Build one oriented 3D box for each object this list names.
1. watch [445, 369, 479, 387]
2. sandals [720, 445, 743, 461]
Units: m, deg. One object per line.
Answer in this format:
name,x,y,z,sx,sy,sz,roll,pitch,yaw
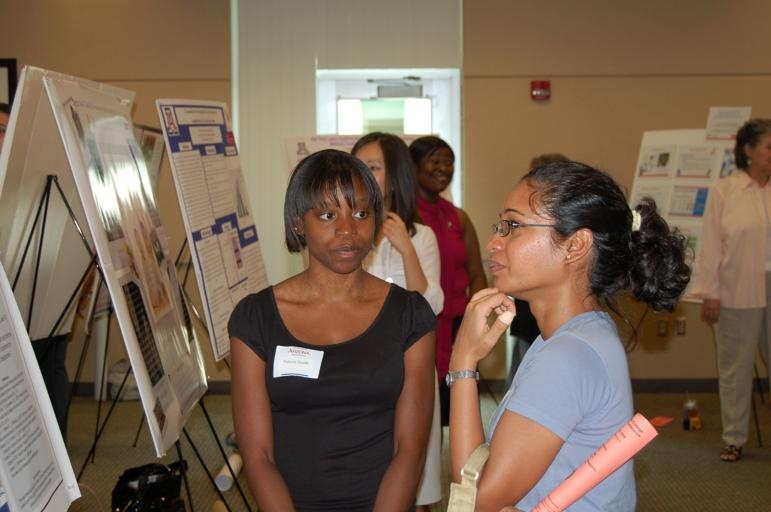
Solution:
watch,0.264,0.424,1.846,0.090,0.056,0.093,-1,-14,4
sandals,2.712,1.553,4.324,0.177,0.102,0.086,0,11,1
